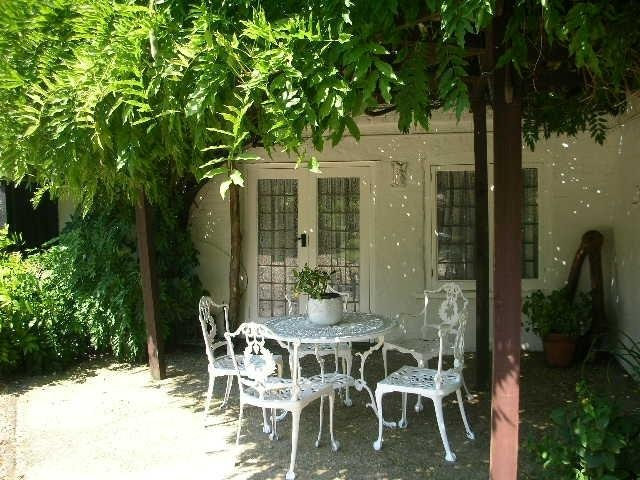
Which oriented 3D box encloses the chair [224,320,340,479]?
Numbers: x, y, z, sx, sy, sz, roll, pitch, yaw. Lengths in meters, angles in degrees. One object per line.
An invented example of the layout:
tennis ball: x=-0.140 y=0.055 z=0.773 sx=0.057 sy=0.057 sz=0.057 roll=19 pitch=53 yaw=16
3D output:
chair: x=-0.313 y=1.354 z=4.837 sx=0.775 sy=1.416 sz=0.860 roll=4 pitch=11 yaw=30

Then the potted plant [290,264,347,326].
potted plant: x=-0.045 y=0.516 z=5.445 sx=0.491 sy=0.735 sz=0.489 roll=-2 pitch=5 yaw=-16

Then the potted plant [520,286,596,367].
potted plant: x=2.823 y=0.993 z=6.739 sx=0.760 sy=0.825 sz=0.544 roll=-3 pitch=7 yaw=-17

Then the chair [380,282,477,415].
chair: x=0.879 y=1.136 z=4.859 sx=0.734 sy=1.195 sz=0.776 roll=1 pitch=4 yaw=21

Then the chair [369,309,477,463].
chair: x=1.058 y=1.165 z=5.102 sx=0.915 sy=1.616 sz=0.927 roll=3 pitch=4 yaw=33
